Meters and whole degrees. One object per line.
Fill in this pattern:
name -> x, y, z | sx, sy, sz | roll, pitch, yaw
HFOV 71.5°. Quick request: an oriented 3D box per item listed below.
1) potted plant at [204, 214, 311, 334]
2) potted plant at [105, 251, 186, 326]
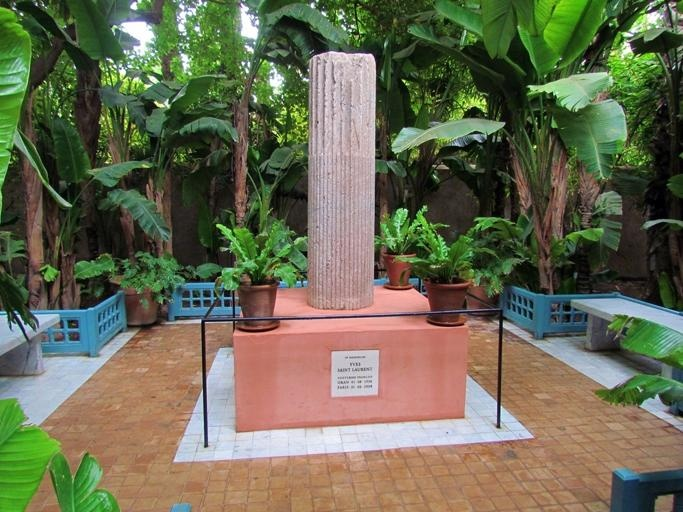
potted plant -> -0.784, 0.018, 5.041 | 0.782, 0.929, 2.423 | -1, 12, -5
potted plant -> -2.860, 0.494, 7.173 | 1.036, 1.016, 1.097 | 0, 2, -15
